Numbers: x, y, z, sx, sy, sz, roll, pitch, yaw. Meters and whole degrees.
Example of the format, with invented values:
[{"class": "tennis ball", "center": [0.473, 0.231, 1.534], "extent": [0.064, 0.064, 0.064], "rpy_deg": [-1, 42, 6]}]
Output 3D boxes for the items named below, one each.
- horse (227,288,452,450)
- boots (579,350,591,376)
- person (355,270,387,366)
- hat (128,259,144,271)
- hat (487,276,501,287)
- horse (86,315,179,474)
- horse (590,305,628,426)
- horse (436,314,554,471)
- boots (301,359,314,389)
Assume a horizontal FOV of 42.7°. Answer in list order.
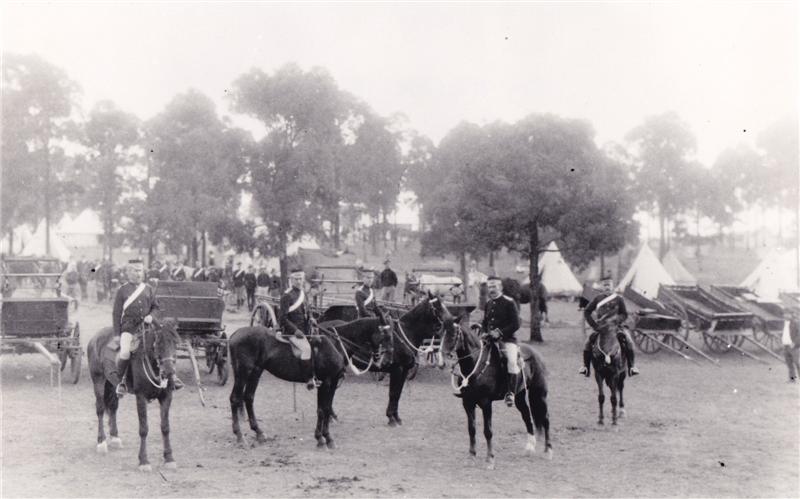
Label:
[{"class": "horse", "center": [-5.268, 3.806, 35.836], "extent": [6.086, 5.541, 12.267], "rpy_deg": [2, -3, -28]}, {"class": "boots", "center": [6.590, 4.090, 36.625], "extent": [0.431, 0.898, 0.316], "rpy_deg": [0, -3, -11]}, {"class": "person", "center": [-1.182, 2.780, 38.716], "extent": [1.096, 3.331, 1.226], "rpy_deg": [0, 0, -2]}, {"class": "hat", "center": [-8.791, 0.531, 33.723], "extent": [0.408, 0.374, 0.399], "rpy_deg": [1, 0, -3]}, {"class": "hat", "center": [3.086, 1.055, 34.066], "extent": [0.442, 0.325, 0.557], "rpy_deg": [-1, -3, 5]}, {"class": "horse", "center": [-8.728, 4.682, 33.482], "extent": [3.126, 4.756, 1.164], "rpy_deg": [-2, -3, 29]}, {"class": "horse", "center": [7.378, 4.144, 36.384], "extent": [1.110, 2.952, 3.902], "rpy_deg": [0, 0, 13]}, {"class": "horse", "center": [3.069, 4.683, 33.708], "extent": [3.651, 4.748, 1.103], "rpy_deg": [1, -3, -17]}, {"class": "boots", "center": [-3.194, 4.233, 34.580], "extent": [0.484, 0.955, 0.348], "rpy_deg": [-2, -3, 31]}]
